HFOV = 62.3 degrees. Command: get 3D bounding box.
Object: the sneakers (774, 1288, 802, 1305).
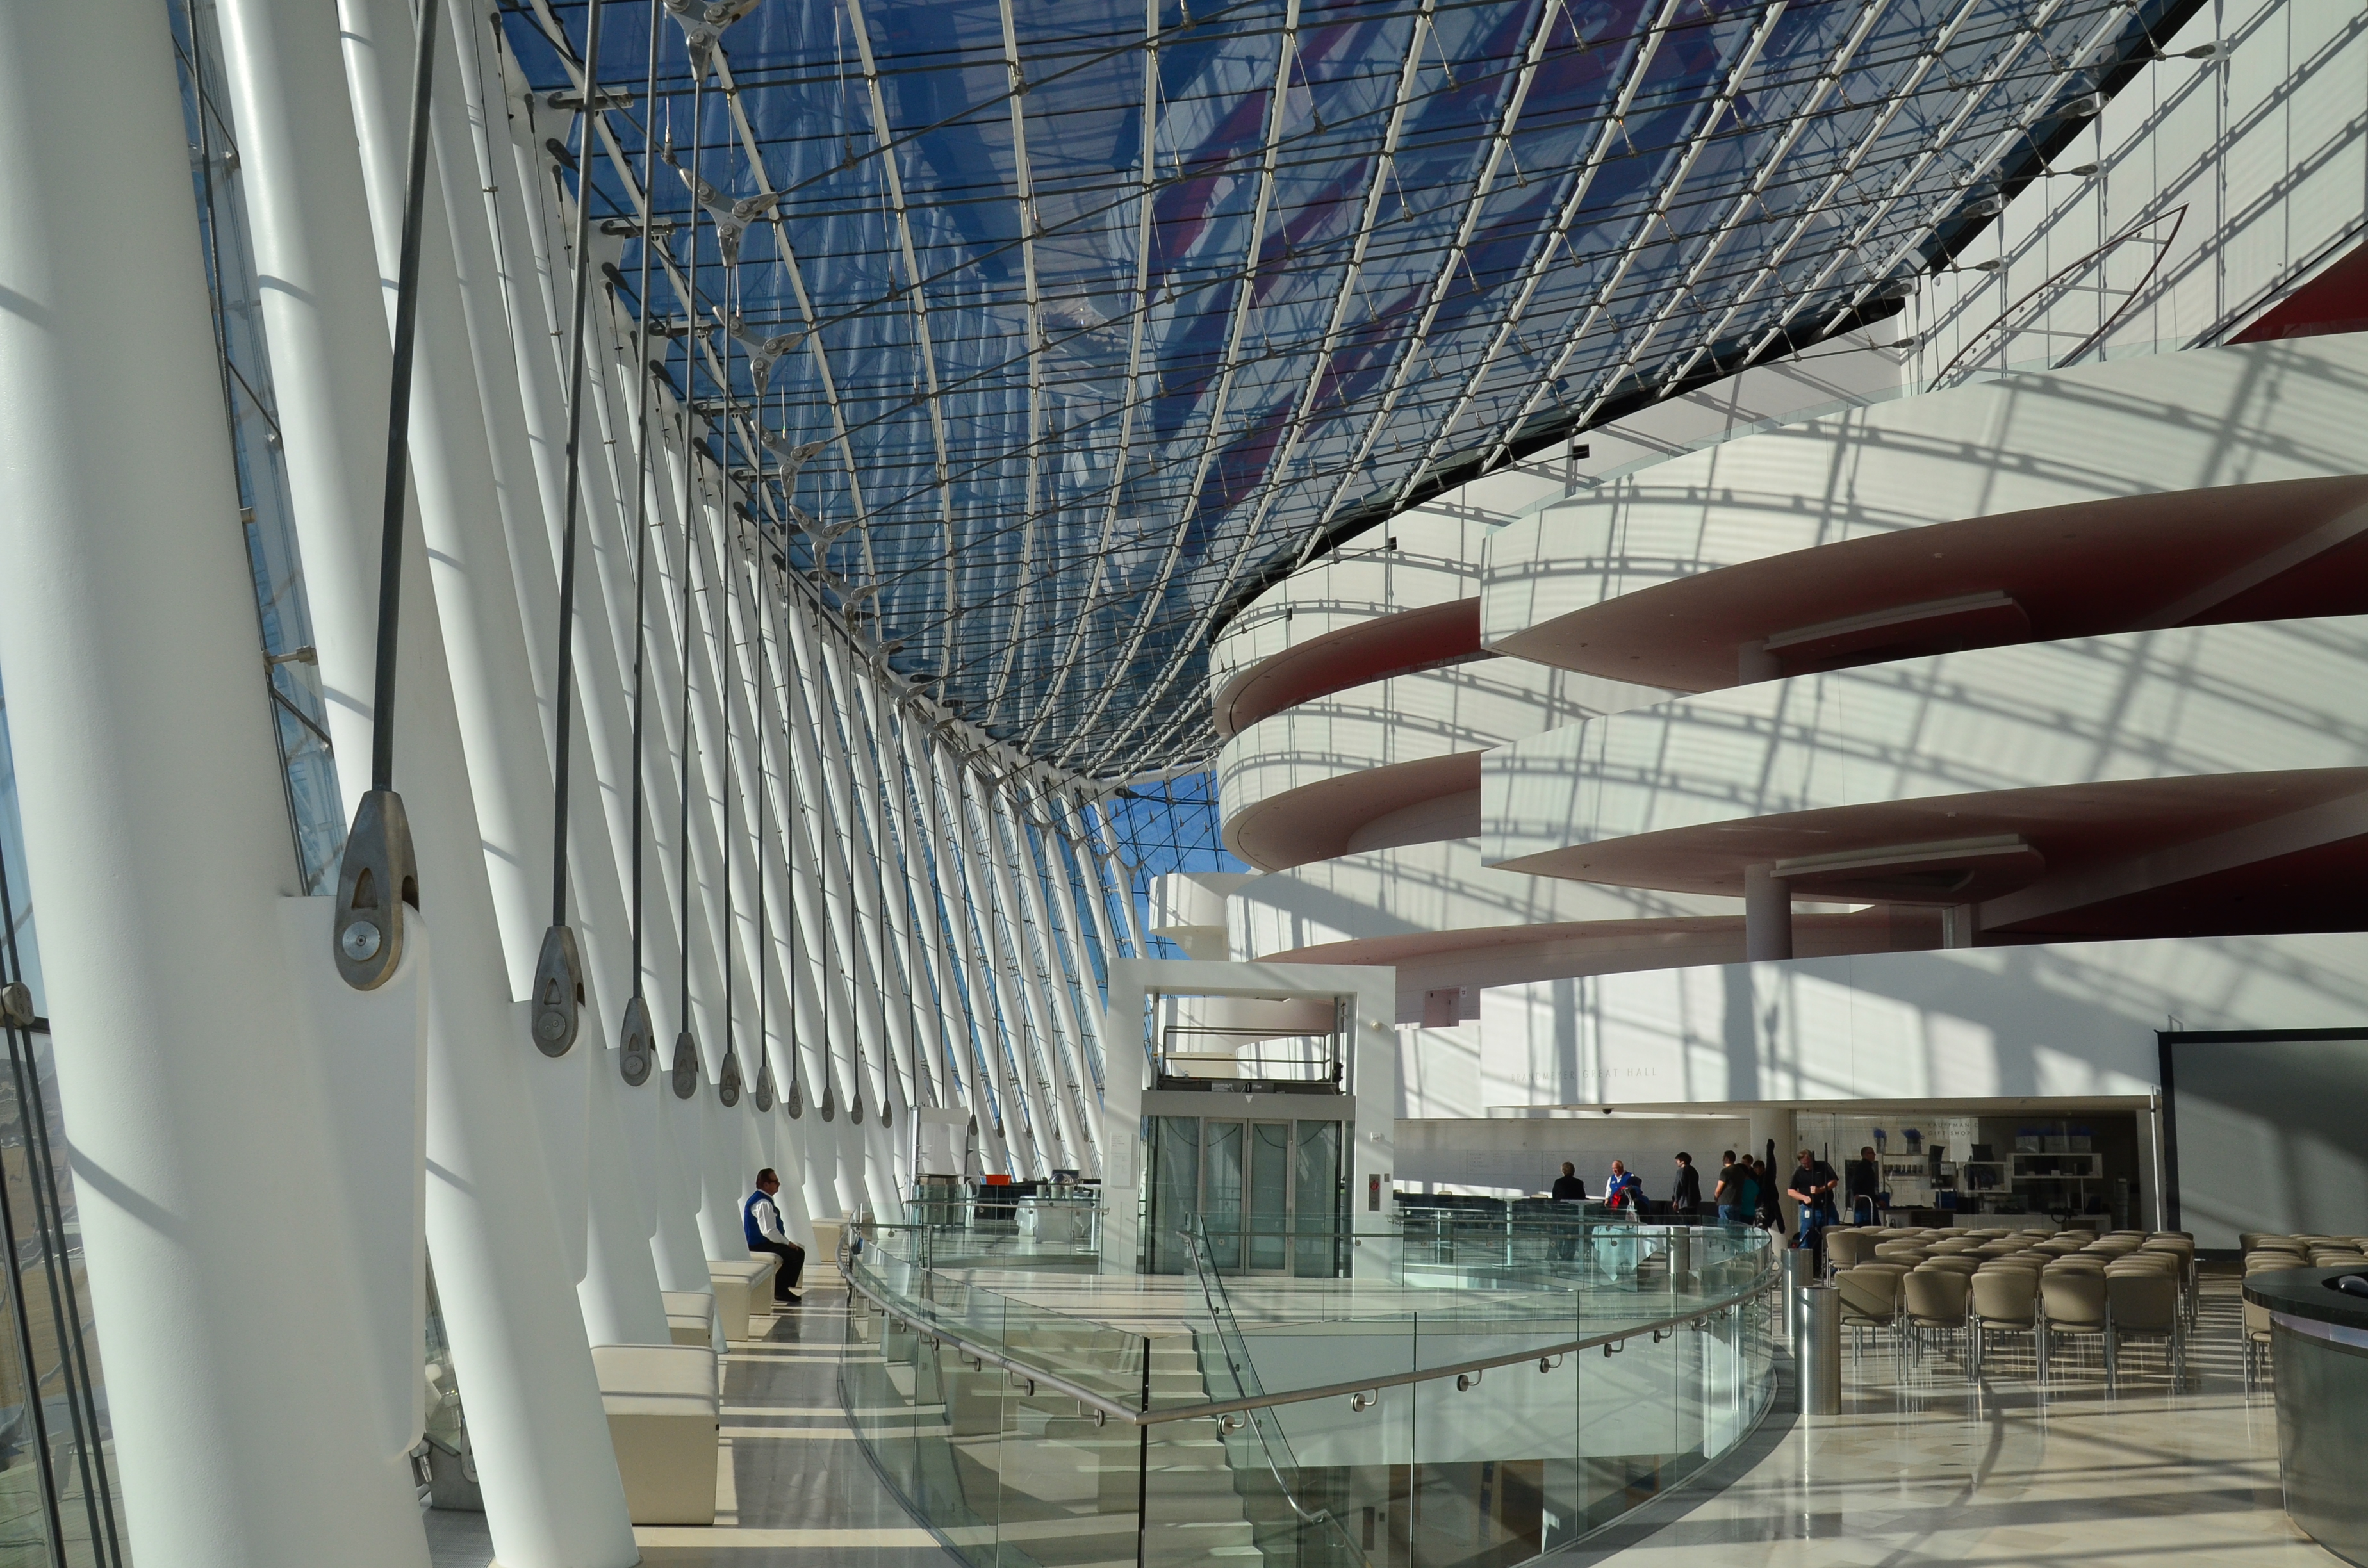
[{"bbox_3d":[-5.254,6.696,25.480,0.242,0.086,0.293,2,-2,-1],"label":"sneakers"}]
